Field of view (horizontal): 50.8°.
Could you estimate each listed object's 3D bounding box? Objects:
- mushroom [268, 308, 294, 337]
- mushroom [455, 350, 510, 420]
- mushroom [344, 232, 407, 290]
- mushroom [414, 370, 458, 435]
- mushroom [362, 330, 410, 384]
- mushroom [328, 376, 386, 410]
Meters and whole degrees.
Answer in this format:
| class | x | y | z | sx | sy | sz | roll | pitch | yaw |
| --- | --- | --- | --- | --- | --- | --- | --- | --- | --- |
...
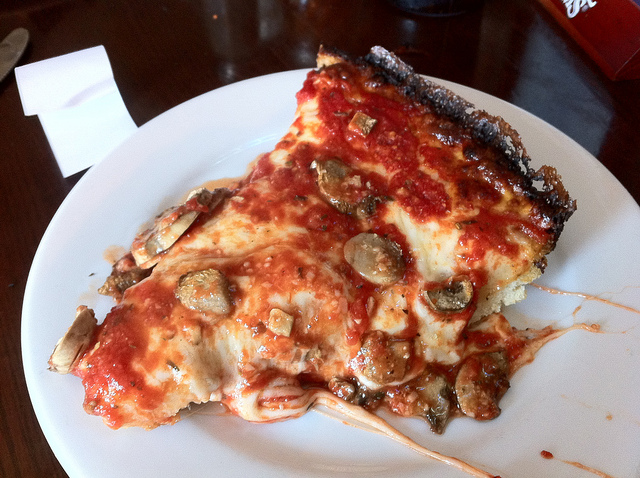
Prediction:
| class | x | y | z | sx | sy | sz | roll | pitch | yaw |
| --- | --- | --- | --- | --- | --- | --- | --- | --- | --- |
| mushroom | -0.143 | 0.293 | 2.360 | 0.088 | 0.038 | 0.080 | 23 | 77 | 7 |
| mushroom | 0.617 | 0.542 | 2.554 | 0.192 | 0.075 | 0.303 | 15 | 49 | 25 |
| mushroom | 0.202 | 0.075 | 2.470 | 0.239 | 0.054 | 0.176 | 17 | 77 | 5 |
| mushroom | 0.434 | 0.613 | 2.560 | 0.148 | 0.049 | 0.229 | -5 | 84 | -8 |
| mushroom | 0.240 | 0.435 | 2.462 | 0.163 | 0.059 | 0.198 | 10 | 86 | -7 |
| mushroom | 0.143 | 0.604 | 2.579 | 0.190 | 0.060 | 0.123 | 20 | 63 | -6 |
